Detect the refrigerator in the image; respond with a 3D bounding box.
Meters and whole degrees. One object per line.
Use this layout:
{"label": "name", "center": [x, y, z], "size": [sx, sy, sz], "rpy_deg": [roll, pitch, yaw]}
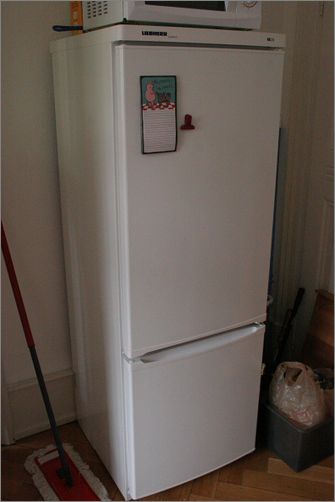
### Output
{"label": "refrigerator", "center": [0.004, 0.081, 1.562], "size": [0.674, 1.603, 0.614], "rpy_deg": [-6, 13, -31]}
